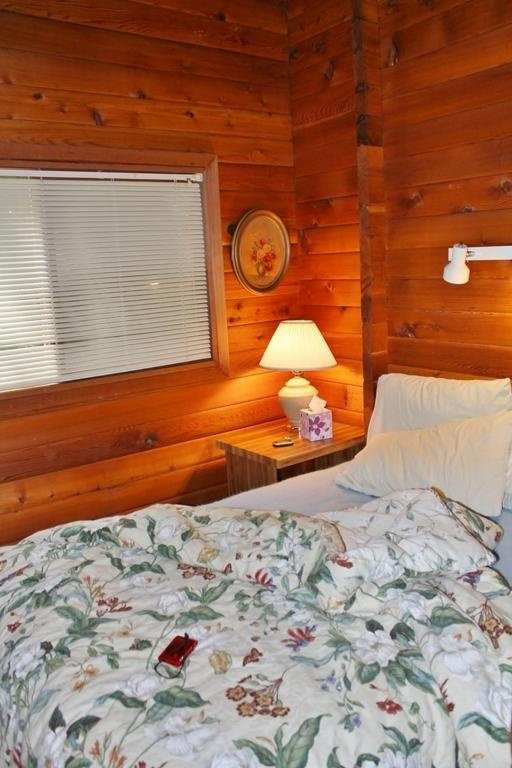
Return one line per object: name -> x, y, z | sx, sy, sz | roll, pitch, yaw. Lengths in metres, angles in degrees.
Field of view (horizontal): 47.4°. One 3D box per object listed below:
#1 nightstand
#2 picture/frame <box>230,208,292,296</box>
nightstand -> 0.159, 0.266, 2.825 | 0.541, 0.425, 0.402 | -12, 18, -40
picture/frame -> 0.011, -0.693, 3.039 | 0.472, 0.449, 0.036 | -11, 15, -43
